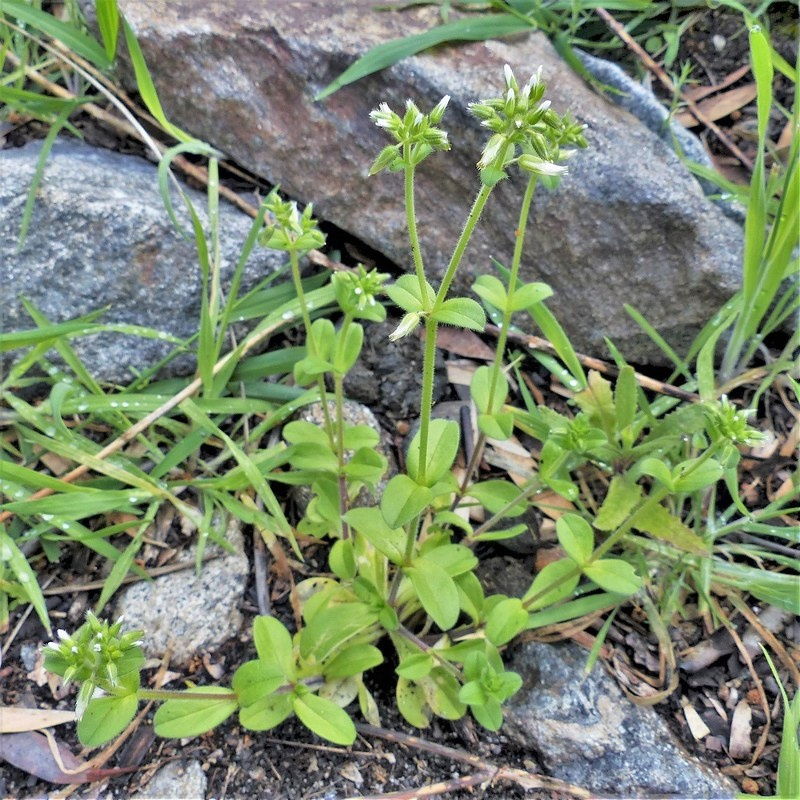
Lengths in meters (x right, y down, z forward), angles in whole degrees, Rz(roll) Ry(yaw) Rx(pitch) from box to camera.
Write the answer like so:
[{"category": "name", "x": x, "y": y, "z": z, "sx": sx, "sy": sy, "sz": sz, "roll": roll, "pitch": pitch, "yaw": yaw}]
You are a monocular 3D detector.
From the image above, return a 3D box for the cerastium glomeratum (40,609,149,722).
[{"category": "cerastium glomeratum", "x": -0.723, "y": 0.635, "z": 1.954, "sx": 0.207, "sy": 0.260, "sz": 0.196, "roll": -26, "pitch": 68, "yaw": -31}]
